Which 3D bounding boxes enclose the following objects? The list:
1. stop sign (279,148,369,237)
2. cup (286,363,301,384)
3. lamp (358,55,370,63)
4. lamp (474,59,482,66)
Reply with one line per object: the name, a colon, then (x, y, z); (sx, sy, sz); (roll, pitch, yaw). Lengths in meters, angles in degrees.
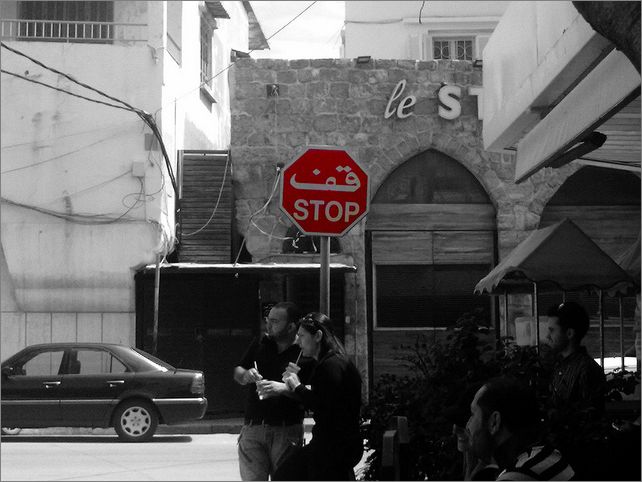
stop sign: (0.027, -0.543, 13.497); (1.071, 1.000, 0.109); (1, 3, -21)
cup: (-0.315, 1.398, 12.906); (0.149, 0.156, 0.144); (2, -13, 1)
lamp: (0.817, -3.539, 23.265); (0.261, 0.152, 0.266); (3, -9, 6)
lamp: (3.033, -3.440, 23.341); (0.166, 0.112, 0.241); (4, -9, 1)
